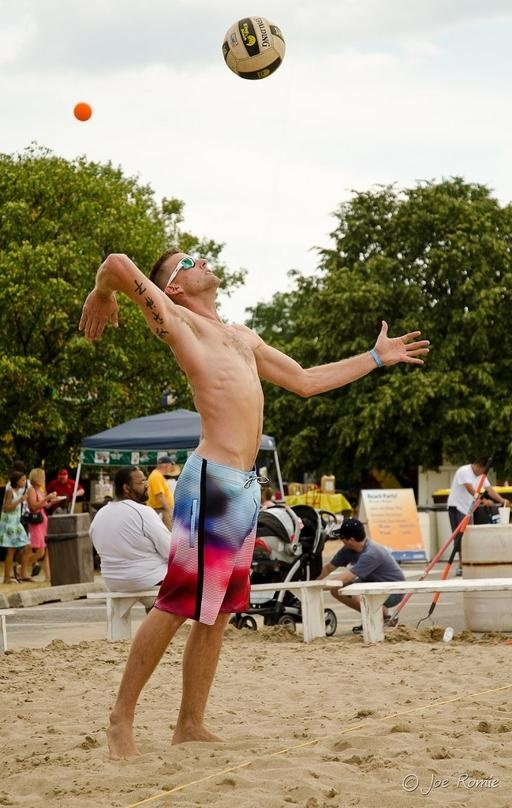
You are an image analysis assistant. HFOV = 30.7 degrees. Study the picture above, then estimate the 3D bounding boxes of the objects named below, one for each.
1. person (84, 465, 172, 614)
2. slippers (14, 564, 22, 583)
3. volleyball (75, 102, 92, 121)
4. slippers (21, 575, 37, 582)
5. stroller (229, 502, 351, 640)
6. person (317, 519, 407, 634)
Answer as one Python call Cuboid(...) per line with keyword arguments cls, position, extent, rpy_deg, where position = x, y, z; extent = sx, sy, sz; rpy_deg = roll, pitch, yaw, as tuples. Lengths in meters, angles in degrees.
Cuboid(cls="person", position=(-1.104, 1.124, 8.095), extent=(0.636, 1.270, 0.670), rpy_deg=(0, 1, -21))
Cuboid(cls="slippers", position=(-3.761, 2.681, 14.732), extent=(0.108, 0.249, 0.470), rpy_deg=(-1, -2, -14))
Cuboid(cls="volleyball", position=(-2.396, -4.024, 12.869), extent=(0.199, 0.266, 0.230), rpy_deg=(-1, -2, -4))
Cuboid(cls="slippers", position=(-3.598, 2.812, 14.882), extent=(0.121, 0.078, 0.304), rpy_deg=(1, -1, 18))
Cuboid(cls="stroller", position=(0.578, 1.612, 9.091), extent=(1.295, 1.611, 1.101), rpy_deg=(14, -18, -38))
Cuboid(cls="person", position=(1.058, 1.551, 8.893), extent=(0.761, 1.122, 0.777), rpy_deg=(-3, -1, 21))
